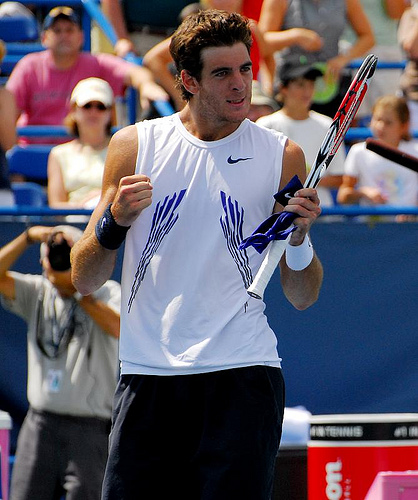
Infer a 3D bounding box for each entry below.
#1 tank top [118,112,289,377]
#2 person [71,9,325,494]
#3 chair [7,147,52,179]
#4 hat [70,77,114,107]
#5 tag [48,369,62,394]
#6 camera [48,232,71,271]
[{"bbox_3d":[-0.014,-0.011,2.821,0.505,0.705,0.482,1,23,4],"label":"tank top"},{"bbox_3d":[-0.029,0.017,2.775,0.661,1.369,0.734,1,23,3],"label":"person"},{"bbox_3d":[-1.186,-0.575,5.959,0.278,0.232,0.174,-6,23,-14],"label":"chair"},{"bbox_3d":[-0.749,-1.002,5.747,0.288,0.151,0.453,-1,4,-3],"label":"hat"},{"bbox_3d":[-0.683,0.583,4.015,0.060,0.071,0.103,-3,23,-5],"label":"tag"},{"bbox_3d":[-0.677,0.013,4.164,0.058,0.201,0.142,-15,-28,23],"label":"camera"}]
